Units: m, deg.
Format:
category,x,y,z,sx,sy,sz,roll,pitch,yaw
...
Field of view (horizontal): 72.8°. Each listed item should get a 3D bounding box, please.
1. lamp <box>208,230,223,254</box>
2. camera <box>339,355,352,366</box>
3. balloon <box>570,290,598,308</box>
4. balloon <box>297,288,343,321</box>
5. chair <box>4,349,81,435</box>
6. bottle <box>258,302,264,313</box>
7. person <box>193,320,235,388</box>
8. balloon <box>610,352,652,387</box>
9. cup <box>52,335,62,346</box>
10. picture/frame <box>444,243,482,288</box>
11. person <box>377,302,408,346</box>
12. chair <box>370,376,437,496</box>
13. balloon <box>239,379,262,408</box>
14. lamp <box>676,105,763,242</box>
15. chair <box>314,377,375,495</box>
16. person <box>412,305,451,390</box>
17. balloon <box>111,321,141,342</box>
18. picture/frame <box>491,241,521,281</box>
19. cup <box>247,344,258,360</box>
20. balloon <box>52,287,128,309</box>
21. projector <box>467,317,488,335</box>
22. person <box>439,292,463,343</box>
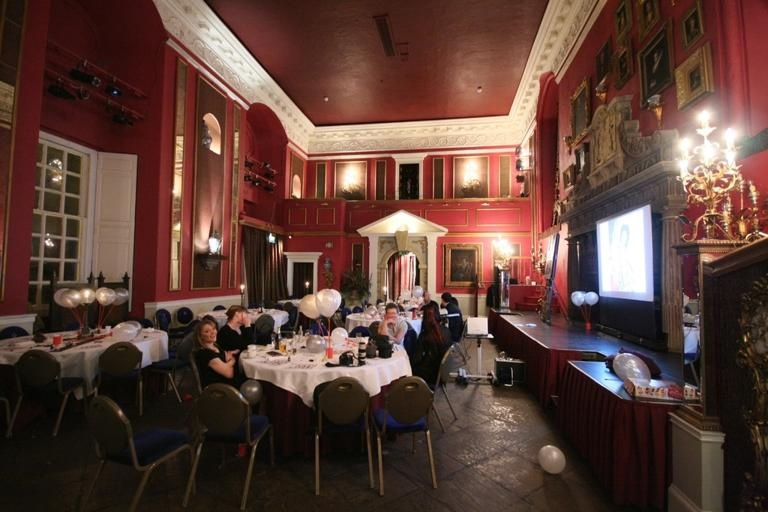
category,x,y,z,sx,sy,sz,roll,pitch,yaw
lamp,-4.309,-0.367,13.279,0.235,0.633,0.584,-2,-5,4
camera,-0.569,1.526,7.737,0.166,0.184,0.126,-1,-1,2
balloon,4.230,0.988,10.946,0.509,0.531,0.314,1,-1,19
balloon,-1.052,0.761,8.695,0.671,0.682,0.482,0,0,5
chair,-5.359,2.087,8.237,0.909,1.294,0.741,-4,-5,24
bottle,-3.230,1.328,13.608,0.131,0.259,0.135,-3,-22,-1
person,-2.523,1.424,7.810,0.633,1.004,0.625,0,-5,-22
balloon,3.524,1.579,7.431,0.398,0.390,0.589,-2,-5,-2
cup,-5.433,1.395,8.676,0.147,0.187,0.156,-1,-11,0
picture/frame,2.770,0.337,17.865,1.346,1.721,0.121,0,-5,9
person,0.166,1.337,9.473,0.575,1.005,0.486,-4,4,-22
chair,0.295,2.482,7.498,0.881,1.594,0.830,-2,-4,2
balloon,-1.885,2.006,7.560,0.315,0.343,0.396,-9,-45,0
lamp,4.993,-1.255,7.788,1.026,2.279,2.021,-4,-5,30
chair,-0.569,2.466,7.406,0.863,1.592,0.721,-1,-4,-7
person,0.786,1.520,9.172,0.600,1.491,0.891,-9,13,-30
balloon,-4.450,1.261,8.993,0.303,0.222,0.404,3,2,-25
picture/frame,4.092,0.138,17.257,1.163,1.776,0.087,1,-9,-5
cup,-2.049,1.462,8.081,0.141,0.148,0.147,0,0,0
balloon,-5.523,0.751,9.684,0.326,0.368,0.879,-45,-21,23
projector,1.857,1.389,10.427,0.409,0.342,0.447,-3,-5,9
person,1.421,1.403,11.931,0.581,1.106,0.576,8,-18,-29
